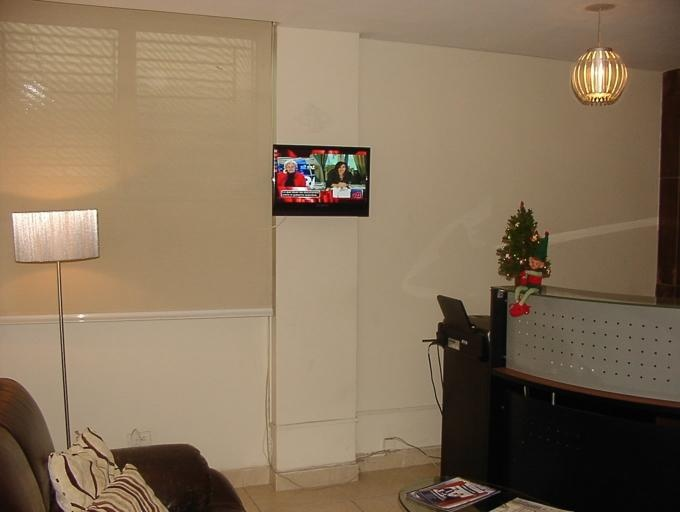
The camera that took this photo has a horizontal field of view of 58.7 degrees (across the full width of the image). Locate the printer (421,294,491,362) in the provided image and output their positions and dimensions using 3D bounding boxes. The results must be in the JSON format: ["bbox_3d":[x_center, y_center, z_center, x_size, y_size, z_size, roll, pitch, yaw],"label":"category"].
[{"bbox_3d":[0.800,0.509,4.117,0.324,0.430,0.545,-5,8,-22],"label":"printer"}]

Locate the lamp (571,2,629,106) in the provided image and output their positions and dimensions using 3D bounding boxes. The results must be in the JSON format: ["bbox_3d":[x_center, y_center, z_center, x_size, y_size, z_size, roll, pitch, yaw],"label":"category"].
[{"bbox_3d":[1.879,-1.433,4.439,0.358,0.659,0.511,2,5,7],"label":"lamp"}]
